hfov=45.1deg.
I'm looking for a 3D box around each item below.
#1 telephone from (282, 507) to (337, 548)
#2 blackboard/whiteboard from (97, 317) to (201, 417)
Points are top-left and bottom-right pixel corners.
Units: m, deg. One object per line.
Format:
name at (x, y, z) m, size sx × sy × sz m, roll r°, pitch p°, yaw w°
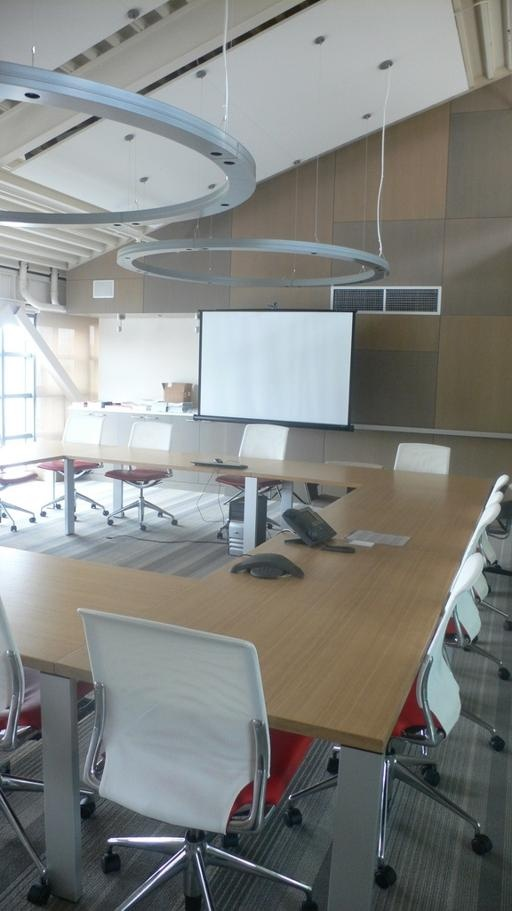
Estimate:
telephone at (0.251, 0.329, 2.893) m, size 0.178 × 0.075 × 0.202 m, roll 35°, pitch 20°, yaw 5°
blackboard/whiteboard at (-1.715, -1.438, 9.316) m, size 1.596 × 1.474 × 0.281 m, roll 4°, pitch 10°, yaw 18°
